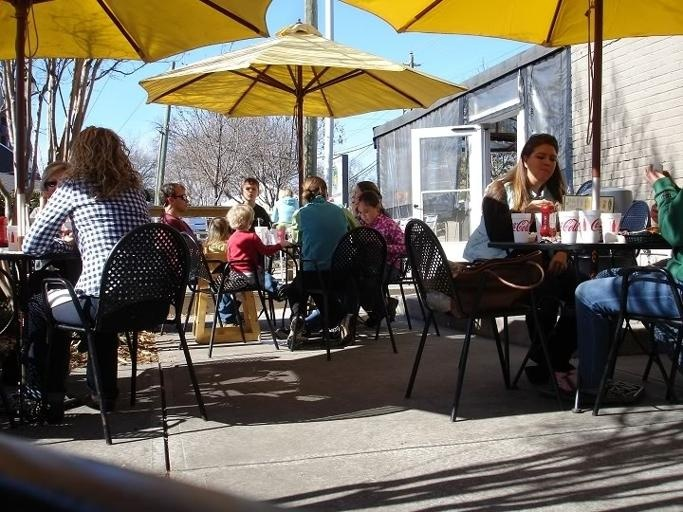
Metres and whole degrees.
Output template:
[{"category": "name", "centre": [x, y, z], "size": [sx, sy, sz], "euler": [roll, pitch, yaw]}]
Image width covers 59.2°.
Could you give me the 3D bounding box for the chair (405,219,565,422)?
[{"category": "chair", "centre": [0.788, 0.308, 3.396], "size": [0.820, 1.074, 0.865], "euler": [-4, -1, 26]}]

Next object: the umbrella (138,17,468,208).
[{"category": "umbrella", "centre": [-0.473, -1.697, 6.007], "size": [2.152, 1.654, 2.171], "euler": [0, 8, 9]}]

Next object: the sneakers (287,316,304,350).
[{"category": "sneakers", "centre": [-0.399, 0.660, 5.188], "size": [0.114, 0.329, 0.146], "euler": [3, 13, 4]}]

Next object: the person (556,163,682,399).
[{"category": "person", "centre": [1.470, 0.162, 3.017], "size": [0.329, 1.238, 0.636], "euler": [-2, 2, -23]}]

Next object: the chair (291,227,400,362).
[{"category": "chair", "centre": [0.046, 0.269, 5.224], "size": [0.805, 1.026, 1.214], "euler": [-1, 2, 0]}]

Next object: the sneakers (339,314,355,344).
[{"category": "sneakers", "centre": [0.054, 0.654, 5.319], "size": [0.097, 0.211, 0.289], "euler": [-1, -4, 15]}]

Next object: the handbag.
[{"category": "handbag", "centre": [0.821, 0.146, 3.140], "size": [0.378, 0.181, 0.341], "euler": [-1, -3, -18]}]

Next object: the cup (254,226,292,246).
[{"category": "cup", "centre": [-0.605, -0.179, 5.433], "size": [0.255, 0.109, 0.168], "euler": [4, -8, -30]}]
